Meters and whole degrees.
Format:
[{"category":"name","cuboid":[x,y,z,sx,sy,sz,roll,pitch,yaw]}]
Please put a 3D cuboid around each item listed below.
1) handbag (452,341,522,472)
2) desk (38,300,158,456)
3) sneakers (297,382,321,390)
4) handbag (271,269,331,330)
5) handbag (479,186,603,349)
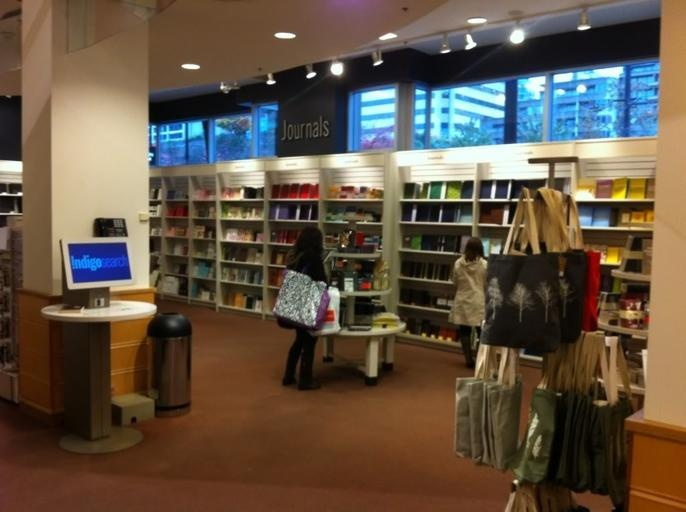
[{"category":"handbag","cuboid":[0.933,0.951,3.466,0.406,0.745,0.321,3,6,24]},{"category":"desk","cuboid":[-2.201,1.088,5.287,1.186,1.488,1.222,4,5,42]},{"category":"sneakers","cuboid":[-0.408,1.571,6.575,0.284,0.135,0.099,-4,3,-20]},{"category":"handbag","cuboid":[-0.485,0.488,6.186,0.606,0.673,0.269,16,24,-3]},{"category":"handbag","cuboid":[1.231,0.105,3.359,0.706,1.044,0.480,-3,7,-40]}]
